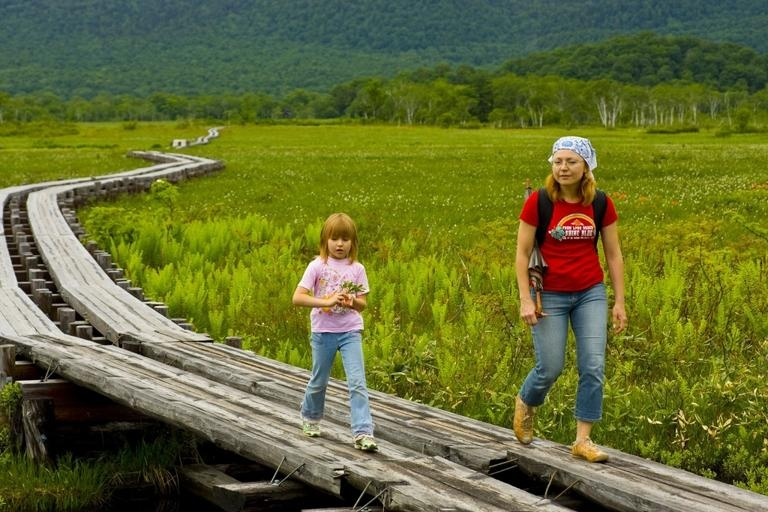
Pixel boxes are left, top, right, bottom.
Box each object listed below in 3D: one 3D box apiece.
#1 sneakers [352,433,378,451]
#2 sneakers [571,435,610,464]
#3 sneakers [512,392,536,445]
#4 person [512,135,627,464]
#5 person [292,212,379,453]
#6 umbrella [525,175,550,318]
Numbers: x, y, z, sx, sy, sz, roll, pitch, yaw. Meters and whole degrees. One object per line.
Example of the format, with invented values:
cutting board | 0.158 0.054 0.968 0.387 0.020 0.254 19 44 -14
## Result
sneakers | -0.159 1.629 6.045 0.102 0.107 0.226 1 -11 -32
sneakers | 1.793 1.696 6.106 0.133 0.157 0.351 -9 3 -34
sneakers | 1.302 1.492 6.391 0.149 0.458 0.187 2 -19 -18
person | 1.600 0.344 6.200 0.827 2.763 0.664 2 9 10
person | -0.399 0.651 6.341 0.903 2.038 0.582 5 10 27
umbrella | 1.380 -0.053 6.302 0.260 1.193 0.233 -7 -13 30
